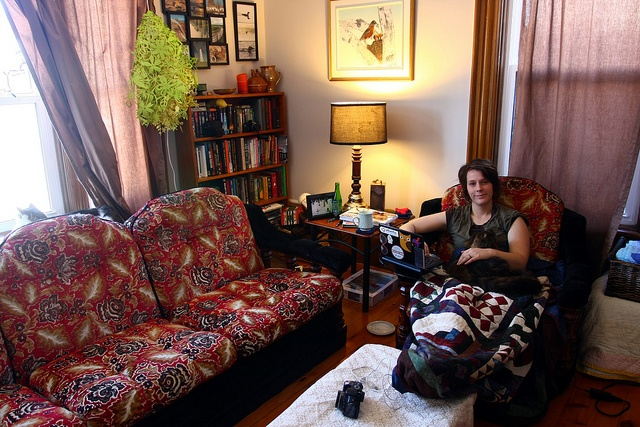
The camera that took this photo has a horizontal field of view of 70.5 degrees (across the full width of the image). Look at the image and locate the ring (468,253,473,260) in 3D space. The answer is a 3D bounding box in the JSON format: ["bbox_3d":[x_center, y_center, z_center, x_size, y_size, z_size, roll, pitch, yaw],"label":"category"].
[{"bbox_3d":[1.003,0.286,3.019,0.042,0.040,0.010,13,4,32],"label":"ring"}]

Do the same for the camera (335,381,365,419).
[{"bbox_3d":[0.151,0.949,2.320,0.134,0.137,0.134,1,-22,-5],"label":"camera"}]

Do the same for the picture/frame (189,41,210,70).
[{"bbox_3d":[-1.110,-1.477,4.205,0.192,0.263,0.026,5,15,15],"label":"picture/frame"}]

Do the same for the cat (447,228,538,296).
[{"bbox_3d":[1.106,0.348,2.973,0.362,0.214,0.482,-9,22,-27],"label":"cat"}]

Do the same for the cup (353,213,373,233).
[{"bbox_3d":[0.349,0.062,3.602,0.141,0.151,0.137,-2,20,1],"label":"cup"}]

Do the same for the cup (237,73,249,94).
[{"bbox_3d":[-0.738,-1.236,4.323,0.089,0.175,0.095,-2,21,1],"label":"cup"}]

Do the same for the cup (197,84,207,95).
[{"bbox_3d":[-1.057,-1.108,4.026,0.087,0.073,0.093,3,31,-2],"label":"cup"}]

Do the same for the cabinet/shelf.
[{"bbox_3d":[-0.824,-0.524,4.085,0.370,1.569,1.081,8,16,36],"label":"cabinet/shelf"}]

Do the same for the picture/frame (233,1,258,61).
[{"bbox_3d":[-0.743,-1.819,4.531,0.087,0.543,0.341,10,24,30],"label":"picture/frame"}]

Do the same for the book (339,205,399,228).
[{"bbox_3d":[0.400,0.034,3.838,0.244,0.060,0.257,-15,21,-43],"label":"book"}]

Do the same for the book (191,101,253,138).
[{"bbox_3d":[-0.898,-0.871,4.192,0.079,0.282,0.658,14,26,38],"label":"book"}]

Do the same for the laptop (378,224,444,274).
[{"bbox_3d":[0.638,0.188,3.088,0.316,0.279,0.413,-19,23,-30],"label":"laptop"}]

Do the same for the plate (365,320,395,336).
[{"bbox_3d":[0.475,0.887,3.507,0.198,0.034,0.178,13,25,36],"label":"plate"}]

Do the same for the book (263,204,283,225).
[{"bbox_3d":[-0.470,-0.018,4.641,0.186,0.218,0.231,11,20,38],"label":"book"}]

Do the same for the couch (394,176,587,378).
[{"bbox_3d":[1.212,0.439,3.180,1.168,1.060,0.929,8,16,27],"label":"couch"}]

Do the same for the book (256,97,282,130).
[{"bbox_3d":[-0.521,-1.016,4.551,0.176,0.320,0.340,5,11,24],"label":"book"}]

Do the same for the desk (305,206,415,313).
[{"bbox_3d":[0.294,0.361,4.084,0.830,0.773,0.854,11,15,41],"label":"desk"}]

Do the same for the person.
[{"bbox_3d":[1.038,0.037,3.267,0.858,0.816,0.507,-2,-9,33],"label":"person"}]

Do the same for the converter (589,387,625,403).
[{"bbox_3d":[1.809,1.157,2.873,0.230,0.069,0.070,8,25,7],"label":"converter"}]

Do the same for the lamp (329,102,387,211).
[{"bbox_3d":[0.344,-0.516,4.044,0.489,0.919,0.344,-1,21,5],"label":"lamp"}]

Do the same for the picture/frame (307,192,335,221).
[{"bbox_3d":[0.007,-0.056,3.886,0.228,0.161,0.022,-9,12,-31],"label":"picture/frame"}]
